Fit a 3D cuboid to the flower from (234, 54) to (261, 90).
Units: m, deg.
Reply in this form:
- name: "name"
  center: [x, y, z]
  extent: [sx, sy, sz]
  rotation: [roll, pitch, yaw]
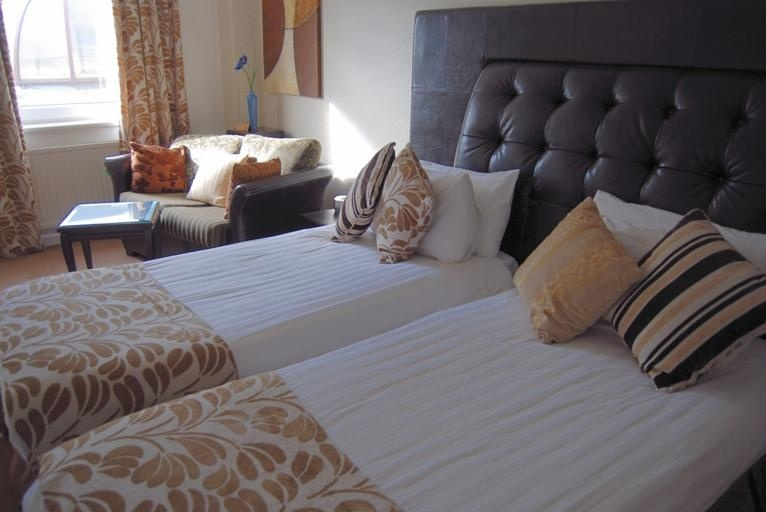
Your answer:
- name: "flower"
  center: [-1.267, -1.679, 4.934]
  extent: [0.210, 0.341, 0.413]
  rotation: [-2, 27, -12]

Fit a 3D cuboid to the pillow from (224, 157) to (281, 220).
- name: "pillow"
  center: [-0.977, -0.507, 3.881]
  extent: [0.440, 0.452, 0.166]
  rotation: [6, 6, -21]

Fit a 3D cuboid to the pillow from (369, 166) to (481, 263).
- name: "pillow"
  center: [0.262, -0.195, 2.718]
  extent: [0.481, 0.505, 0.227]
  rotation: [8, -5, 30]

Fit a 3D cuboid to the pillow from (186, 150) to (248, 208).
- name: "pillow"
  center: [-1.223, -0.569, 3.999]
  extent: [0.429, 0.355, 0.210]
  rotation: [15, 20, 37]

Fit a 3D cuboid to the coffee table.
- name: "coffee table"
  center: [-1.859, -0.261, 3.649]
  extent: [0.547, 0.527, 0.547]
  rotation: [-12, 28, -15]

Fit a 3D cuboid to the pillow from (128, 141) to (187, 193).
- name: "pillow"
  center: [-1.798, -0.691, 4.273]
  extent: [0.424, 0.415, 0.163]
  rotation: [0, -4, -21]

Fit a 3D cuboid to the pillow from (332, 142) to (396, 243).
- name: "pillow"
  center: [-0.105, -0.347, 3.011]
  extent: [0.151, 0.484, 0.501]
  rotation: [23, -5, -15]
